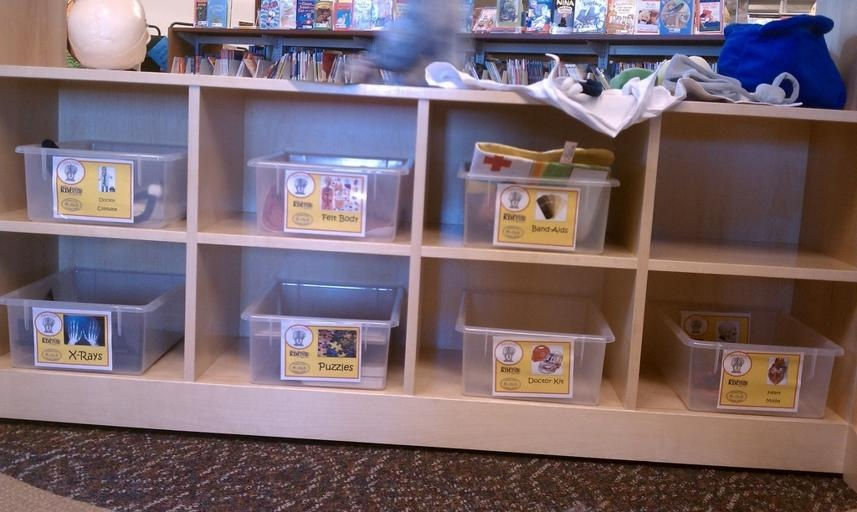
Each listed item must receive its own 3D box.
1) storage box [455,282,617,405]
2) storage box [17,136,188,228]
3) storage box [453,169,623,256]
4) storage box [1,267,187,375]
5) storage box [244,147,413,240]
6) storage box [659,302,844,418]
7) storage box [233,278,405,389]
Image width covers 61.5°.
[{"bbox_3d":[0.402,0.329,2.768,0.518,0.236,0.409,2,9,3],"label":"storage box"},{"bbox_3d":[-1.207,-0.261,2.672,0.510,0.220,0.354,3,7,4],"label":"storage box"},{"bbox_3d":[0.388,-0.157,2.582,0.462,0.197,0.317,1,5,1],"label":"storage box"},{"bbox_3d":[-1.321,0.212,2.776,0.541,0.198,0.425,2,6,13],"label":"storage box"},{"bbox_3d":[-0.361,-0.251,2.714,0.526,0.224,0.359,2,9,5],"label":"storage box"},{"bbox_3d":[1.226,0.395,2.808,0.632,0.310,0.415,1,13,2],"label":"storage box"},{"bbox_3d":[-0.398,0.301,2.840,0.572,0.308,0.417,0,13,1],"label":"storage box"}]
